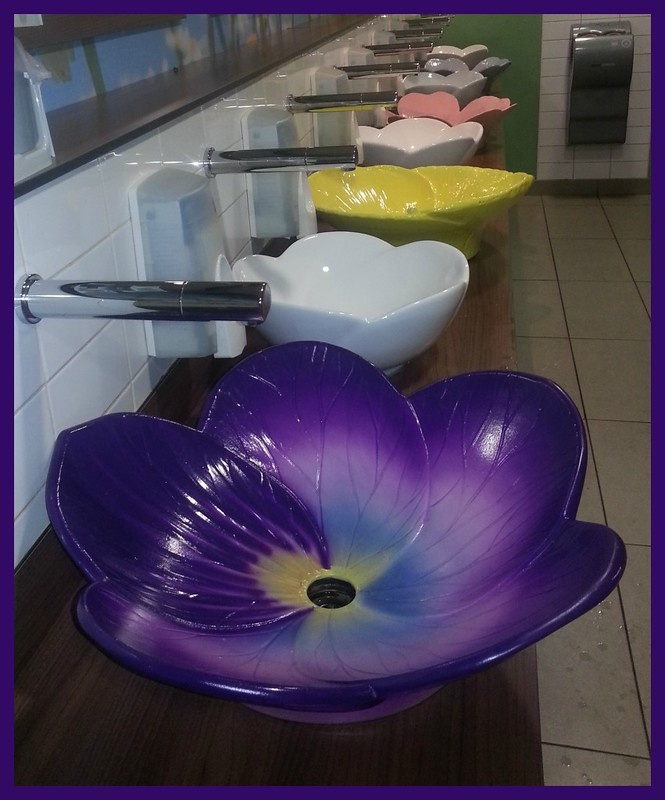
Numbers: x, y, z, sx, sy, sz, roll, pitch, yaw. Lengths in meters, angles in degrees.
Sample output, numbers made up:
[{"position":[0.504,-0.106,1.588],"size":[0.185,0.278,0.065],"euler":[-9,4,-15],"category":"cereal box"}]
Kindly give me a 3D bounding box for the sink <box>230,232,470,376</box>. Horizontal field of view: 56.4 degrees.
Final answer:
[{"position":[0.045,-0.146,0.854],"size":[0.264,0.127,0.274],"euler":[2,31,7],"category":"sink"}]

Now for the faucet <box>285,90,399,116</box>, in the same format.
[{"position":[0.009,-0.595,1.244],"size":[0.098,0.035,0.335],"euler":[-20,32,-22],"category":"faucet"}]

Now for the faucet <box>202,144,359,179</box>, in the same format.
[{"position":[-0.071,-0.351,0.905],"size":[0.256,0.042,0.098],"euler":[8,33,24],"category":"faucet"}]

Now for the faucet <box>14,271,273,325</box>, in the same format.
[{"position":[-0.144,-0.073,0.472],"size":[0.192,0.050,0.050],"euler":[2,25,12],"category":"faucet"}]

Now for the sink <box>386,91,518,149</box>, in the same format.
[{"position":[0.365,-0.895,1.931],"size":[0.368,0.115,0.414],"euler":[0,30,12],"category":"sink"}]
